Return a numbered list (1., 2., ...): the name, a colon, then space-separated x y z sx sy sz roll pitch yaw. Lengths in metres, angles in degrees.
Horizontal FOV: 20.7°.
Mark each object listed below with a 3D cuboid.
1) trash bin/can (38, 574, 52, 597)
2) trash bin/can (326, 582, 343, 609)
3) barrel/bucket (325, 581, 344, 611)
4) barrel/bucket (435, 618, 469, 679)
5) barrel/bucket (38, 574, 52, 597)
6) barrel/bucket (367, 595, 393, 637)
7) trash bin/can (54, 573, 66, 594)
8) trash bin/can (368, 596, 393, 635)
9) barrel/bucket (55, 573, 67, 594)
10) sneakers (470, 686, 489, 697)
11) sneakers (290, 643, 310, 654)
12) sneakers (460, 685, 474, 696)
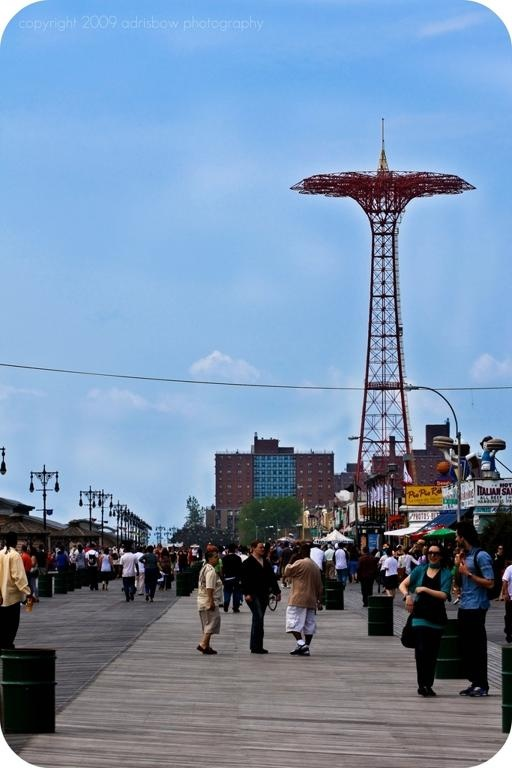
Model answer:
1. trash bin/can: -5.877 5.667 38.815 0.420 0.738 0.456 -1 0 7
2. trash bin/can: 1.872 5.055 33.168 0.487 0.827 0.539 -1 -1 5
3. barrel/bucket: 1.847 5.057 33.224 0.534 0.661 0.580 -1 -6 0
4. barrel/bucket: 2.252 3.115 16.302 0.330 0.690 0.501 -2 -9 8
5. barrel/bucket: -5.889 5.635 38.825 0.462 0.581 0.501 0 0 0
6. barrel/bucket: 2.092 3.991 23.808 0.532 0.885 0.575 0 -9 0
7. trash bin/can: -5.788 5.980 41.461 0.407 0.714 0.449 0 -7 -4
8. trash bin/can: 2.094 3.982 23.782 0.519 0.857 0.561 0 -8 -1
9. barrel/bucket: -5.783 5.957 41.522 0.459 0.767 0.475 0 -7 0
10. sneakers: 2.320 3.208 14.476 0.069 0.086 0.199 -6 -17 33
11. sneakers: 0.611 3.729 19.488 0.262 0.153 0.318 -1 -10 1
12. sneakers: 2.177 3.217 14.558 0.063 0.091 0.192 2 -12 -32
